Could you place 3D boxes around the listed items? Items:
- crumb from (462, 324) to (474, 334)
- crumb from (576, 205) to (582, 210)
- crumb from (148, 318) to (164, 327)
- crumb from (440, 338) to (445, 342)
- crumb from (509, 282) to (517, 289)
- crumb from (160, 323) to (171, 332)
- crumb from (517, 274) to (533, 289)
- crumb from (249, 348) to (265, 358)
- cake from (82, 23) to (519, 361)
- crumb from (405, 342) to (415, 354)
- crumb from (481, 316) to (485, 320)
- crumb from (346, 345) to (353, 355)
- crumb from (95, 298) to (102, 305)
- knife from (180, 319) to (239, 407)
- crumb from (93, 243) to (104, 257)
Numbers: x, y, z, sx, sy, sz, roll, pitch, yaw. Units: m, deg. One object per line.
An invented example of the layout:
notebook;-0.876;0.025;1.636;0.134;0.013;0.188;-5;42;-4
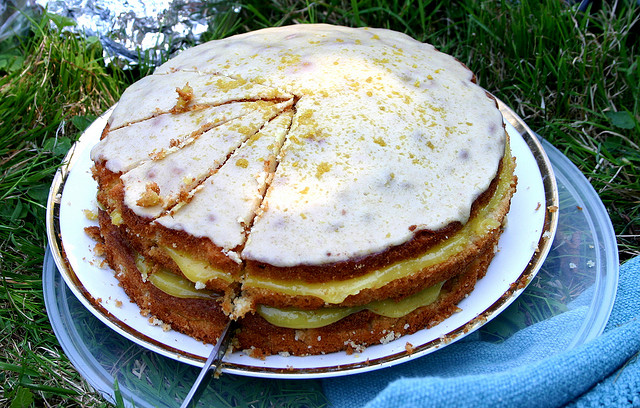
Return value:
crumb;0.760;0.647;2.934;0.049;0.013;0.030;-47;45;-15
crumb;1.559;0.022;3.410;0.012;0.009;0.029;-13;96;12
crumb;-0.860;0.625;2.993;0.050;0.014;0.050;1;35;-8
crumb;0.625;0.698;2.906;0.013;0.003;0.012;13;48;0
crumb;1.028;0.436;3.025;0.027;0.007;0.026;2;60;-1
crumb;-0.815;0.651;2.980;0.032;0.008;0.033;3;51;6
crumb;1.088;0.413;3.036;0.058;0.018;0.076;13;59;50
crumb;-0.329;0.766;2.911;0.071;0.019;0.047;-11;83;-1
cake;-0.033;-0.168;3.028;1.868;0.655;2.002;8;49;8
crumb;0.456;0.736;2.900;0.045;0.028;0.052;11;83;2
crumb;0.847;0.591;2.951;0.016;0.014;0.020;8;83;2
crumb;0.150;0.752;2.916;0.033;0.035;0.033;-7;26;-6
crumb;-1.189;0.518;3.017;0.024;0.005;0.024;2;54;-2
knife;-0.534;0.786;2.784;0.058;0.235;0.456;25;84;3
crumb;-1.247;0.257;3.169;0.050;0.017;0.063;0;66;5
